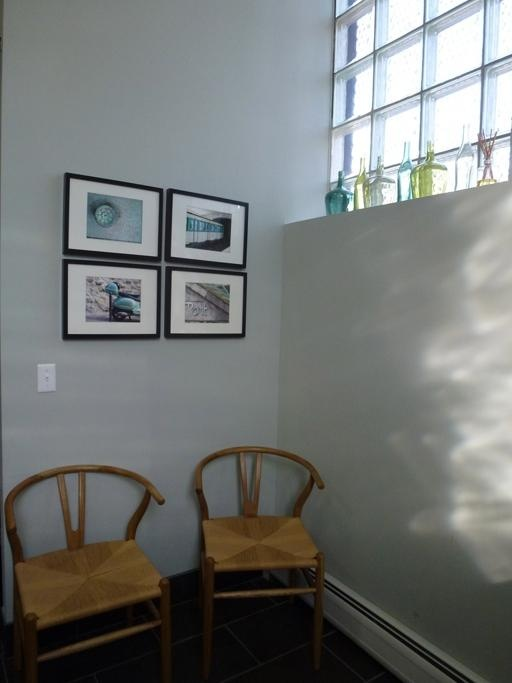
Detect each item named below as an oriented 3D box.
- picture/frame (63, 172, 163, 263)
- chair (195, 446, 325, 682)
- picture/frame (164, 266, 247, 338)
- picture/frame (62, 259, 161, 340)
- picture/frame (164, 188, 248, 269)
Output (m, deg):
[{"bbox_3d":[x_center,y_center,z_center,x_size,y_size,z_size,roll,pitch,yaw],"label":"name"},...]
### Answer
[{"bbox_3d":[-0.517,-0.440,1.860,0.301,0.281,0.014,-5,8,-37],"label":"picture/frame"},{"bbox_3d":[-0.006,0.759,1.982,0.526,0.919,0.582,0,-1,-6],"label":"chair"},{"bbox_3d":[-0.215,-0.163,2.112,0.253,0.215,0.011,-6,11,-41],"label":"picture/frame"},{"bbox_3d":[-0.528,-0.157,1.884,0.258,0.217,0.010,-4,7,-41],"label":"picture/frame"},{"bbox_3d":[-0.209,-0.450,2.082,0.312,0.251,0.013,-1,4,-42],"label":"picture/frame"}]
